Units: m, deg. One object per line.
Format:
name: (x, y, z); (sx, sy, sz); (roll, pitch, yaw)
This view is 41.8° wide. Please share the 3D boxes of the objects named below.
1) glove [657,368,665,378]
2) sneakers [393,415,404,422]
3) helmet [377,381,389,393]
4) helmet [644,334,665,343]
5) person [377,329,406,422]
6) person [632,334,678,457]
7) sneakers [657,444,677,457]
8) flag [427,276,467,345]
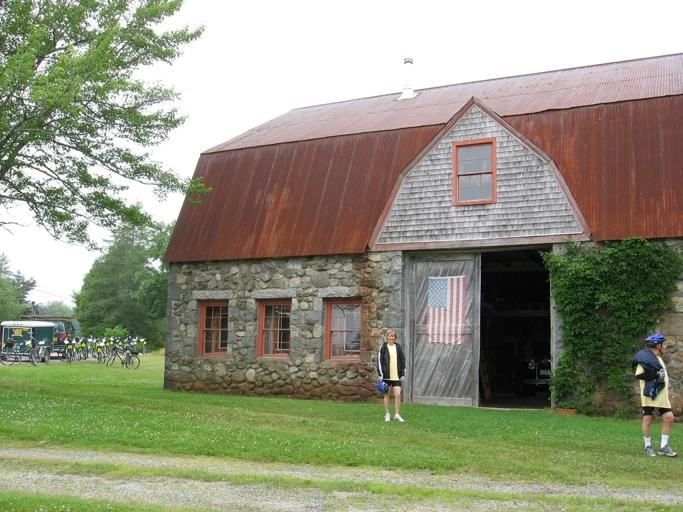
glove: (6.475, 2.397, 18.110); (0.136, 0.165, 0.039); (-3, -1, 6)
sneakers: (1.324, 3.758, 20.578); (0.100, 0.128, 0.299); (0, -12, -16)
helmet: (0.958, 3.016, 20.421); (0.276, 0.280, 0.207); (-5, -5, 23)
helmet: (6.365, 1.721, 18.333); (0.412, 0.151, 0.299); (-9, -6, 35)
person: (1.162, 2.811, 20.857); (0.590, 2.179, 1.105); (1, 5, 4)
person: (6.353, 2.824, 18.179); (0.877, 2.343, 1.051); (2, 5, 12)
sneakers: (6.489, 3.932, 17.930); (0.428, 0.220, 0.158); (0, -4, 8)
flag: (2.796, 1.435, 23.868); (1.005, 1.775, 0.581); (1, 5, 9)
